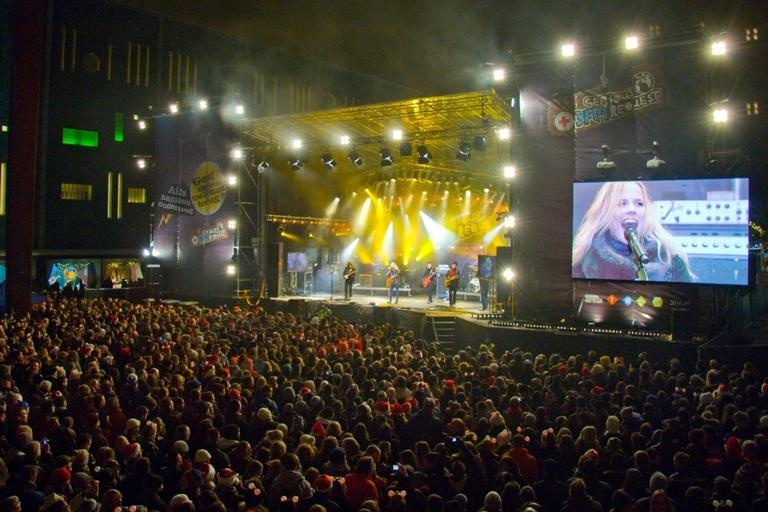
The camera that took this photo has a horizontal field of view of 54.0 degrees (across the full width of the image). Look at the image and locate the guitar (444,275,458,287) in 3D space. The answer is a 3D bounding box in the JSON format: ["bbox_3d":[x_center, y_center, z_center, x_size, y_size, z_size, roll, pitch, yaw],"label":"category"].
[{"bbox_3d":[2.759,1.106,31.410,0.614,0.300,1.146,0,-1,3],"label":"guitar"}]

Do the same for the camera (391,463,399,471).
[{"bbox_3d":[0.238,4.511,16.181,0.132,0.130,0.392,1,-3,-7],"label":"camera"}]

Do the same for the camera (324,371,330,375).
[{"bbox_3d":[-1.521,3.043,19.647,0.070,0.074,0.131,-3,-1,25],"label":"camera"}]

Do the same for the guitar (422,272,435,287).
[{"bbox_3d":[1.907,1.131,32.831,0.408,0.673,0.241,43,6,13],"label":"guitar"}]

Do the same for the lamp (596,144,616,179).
[{"bbox_3d":[7.386,-3.006,25.111,0.634,1.125,0.575,0,-2,17],"label":"lamp"}]

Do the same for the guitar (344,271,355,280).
[{"bbox_3d":[-1.596,0.942,33.226,0.403,0.423,0.607,1,-2,2],"label":"guitar"}]

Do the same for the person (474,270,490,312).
[{"bbox_3d":[4.075,1.553,31.595,0.453,1.683,1.342,4,-11,-3],"label":"person"}]

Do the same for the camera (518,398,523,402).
[{"bbox_3d":[3.332,3.503,18.483,0.134,0.128,0.044,-6,-15,-11],"label":"camera"}]

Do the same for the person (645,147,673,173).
[{"bbox_3d":[9.046,-2.996,24.922,0.676,0.742,0.725,-9,-17,30],"label":"person"}]
